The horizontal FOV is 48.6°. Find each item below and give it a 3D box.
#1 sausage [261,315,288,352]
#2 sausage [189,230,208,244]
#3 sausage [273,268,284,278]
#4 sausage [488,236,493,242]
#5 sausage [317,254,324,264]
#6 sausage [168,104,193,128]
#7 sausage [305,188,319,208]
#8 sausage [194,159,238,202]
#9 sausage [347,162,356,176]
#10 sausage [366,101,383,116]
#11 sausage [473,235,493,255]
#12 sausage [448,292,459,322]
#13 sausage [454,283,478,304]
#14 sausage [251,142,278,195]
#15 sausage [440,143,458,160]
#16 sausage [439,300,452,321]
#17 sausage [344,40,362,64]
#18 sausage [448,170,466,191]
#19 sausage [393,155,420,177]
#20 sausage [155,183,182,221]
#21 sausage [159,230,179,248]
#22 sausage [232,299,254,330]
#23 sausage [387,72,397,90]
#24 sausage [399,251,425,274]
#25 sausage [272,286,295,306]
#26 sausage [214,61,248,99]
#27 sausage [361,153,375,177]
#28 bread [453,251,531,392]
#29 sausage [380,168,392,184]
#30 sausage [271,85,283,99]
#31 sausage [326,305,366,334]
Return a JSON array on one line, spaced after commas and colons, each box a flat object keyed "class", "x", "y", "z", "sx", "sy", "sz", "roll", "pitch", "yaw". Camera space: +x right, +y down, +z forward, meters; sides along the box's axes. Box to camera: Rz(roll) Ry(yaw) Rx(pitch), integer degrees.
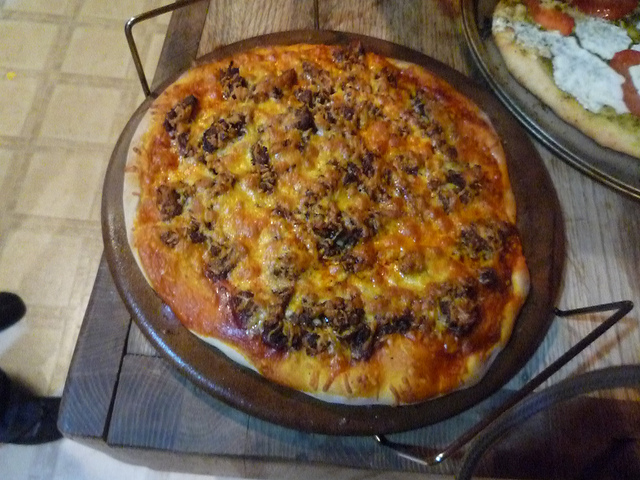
[{"class": "sausage", "x": -0.198, "y": 0.424, "z": 3.107, "sx": 0.103, "sy": 0.047, "sz": 0.163, "roll": 9, "pitch": 76, "yaw": -11}, {"class": "sausage", "x": -0.555, "y": -0.010, "z": 3.215, "sx": 0.058, "sy": 0.027, "sz": 0.053, "roll": -6, "pitch": 68, "yaw": -10}, {"class": "sausage", "x": -0.185, "y": 0.149, "z": 3.159, "sx": 0.031, "sy": 0.007, "sz": 0.038, "roll": -2, "pitch": 82, "yaw": 8}, {"class": "sausage", "x": 0.780, "y": -0.003, "z": 3.267, "sx": 0.018, "sy": 0.005, "sz": 0.022, "roll": 5, "pitch": 71, "yaw": -1}, {"class": "sausage", "x": 0.001, "y": 0.088, "z": 3.200, "sx": 0.029, "sy": 0.019, "sz": 0.035, "roll": -2, "pitch": 70, "yaw": -1}, {"class": "sausage", "x": -0.650, "y": -0.588, "z": 3.337, "sx": 0.086, "sy": 0.029, "sz": 0.110, "roll": -2, "pitch": 90, "yaw": -5}, {"class": "sausage", "x": -0.039, "y": -0.188, "z": 3.243, "sx": 0.049, "sy": 0.013, "sz": 0.079, "roll": 0, "pitch": 82, "yaw": -3}, {"class": "sausage", "x": -0.484, "y": -0.270, "z": 3.257, "sx": 0.175, "sy": 0.038, "sz": 0.189, "roll": 37, "pitch": 74, "yaw": 12}, {"class": "sausage", "x": 0.147, "y": -0.329, "z": 3.305, "sx": 0.032, "sy": 0.011, "sz": 0.055, "roll": -2, "pitch": 74, "yaw": -5}, {"class": "sausage", "x": 0.258, "y": -0.625, "z": 3.399, "sx": 0.077, "sy": 0.018, "sz": 0.049, "roll": 43, "pitch": 71, "yaw": -3}, {"class": "sausage", "x": 0.736, "y": 0.028, "z": 3.252, "sx": 0.074, "sy": 0.024, "sz": 0.088, "roll": 16, "pitch": 70, "yaw": -4}, {"class": "sausage", "x": 0.597, "y": 0.307, "z": 3.158, "sx": 0.055, "sy": 0.021, "sz": 0.089, "roll": -1, "pitch": 77, "yaw": 0}, {"class": "sausage", "x": 0.659, "y": 0.240, "z": 3.181, "sx": 0.078, "sy": 0.023, "sz": 0.094, "roll": -6, "pitch": 70, "yaw": -4}, {"class": "sausage", "x": -0.271, "y": -0.357, "z": 3.324, "sx": 0.044, "sy": 0.130, "sz": 0.270, "roll": -25, "pitch": 66, "yaw": -13}, {"class": "sausage", "x": 0.610, "y": -0.419, "z": 3.356, "sx": 0.059, "sy": 0.020, "sz": 0.086, "roll": -26, "pitch": 73, "yaw": -12}, {"class": "sausage", "x": 0.558, "y": 0.320, "z": 3.166, "sx": 0.047, "sy": 0.017, "sz": 0.077, "roll": 0, "pitch": 79, "yaw": 7}, {"class": "sausage", "x": 0.158, "y": -0.921, "z": 3.476, "sx": 0.074, "sy": 0.025, "sz": 0.118, "roll": -1, "pitch": 82, "yaw": 29}, {"class": "sausage", "x": 0.638, "y": -0.282, "z": 3.316, "sx": 0.062, "sy": 0.023, "sz": 0.095, "roll": -18, "pitch": 73, "yaw": -13}, {"class": "sausage", "x": 0.403, "y": -0.345, "z": 3.332, "sx": 0.113, "sy": 0.026, "sz": 0.076, "roll": 27, "pitch": 77, "yaw": 6}, {"class": "sausage", "x": -0.694, "y": -0.166, "z": 3.221, "sx": 0.091, "sy": 0.031, "sz": 0.172, "roll": -8, "pitch": 81, "yaw": -4}, {"class": "sausage", "x": -0.685, "y": -0.003, "z": 3.217, "sx": 0.056, "sy": 0.030, "sz": 0.083, "roll": -16, "pitch": 66, "yaw": -6}, {"class": "sausage", "x": -0.328, "y": 0.337, "z": 3.133, "sx": 0.105, "sy": 0.027, "sz": 0.100, "roll": -24, "pitch": 72, "yaw": -8}, {"class": "sausage", "x": 0.352, "y": -0.769, "z": 3.437, "sx": 0.037, "sy": 0.022, "sz": 0.079, "roll": -9, "pitch": 81, "yaw": -7}, {"class": "sausage", "x": 0.410, "y": 0.104, "z": 3.208, "sx": 0.111, "sy": 0.022, "sz": 0.097, "roll": -7, "pitch": 71, "yaw": -3}, {"class": "sausage", "x": -0.163, "y": 0.251, "z": 3.146, "sx": 0.098, "sy": 0.030, "sz": 0.075, "roll": -4, "pitch": 70, "yaw": -2}, {"class": "sausage", "x": -0.432, "y": -0.775, "z": 3.411, "sx": 0.147, "sy": 0.047, "sz": 0.173, "roll": 21, "pitch": 91, "yaw": 20}, {"class": "sausage", "x": 0.222, "y": -0.346, "z": 3.313, "sx": 0.053, "sy": 0.017, "sz": 0.095, "roll": 2, "pitch": 78, "yaw": 3}, {"class": "bread", "x": 0.759, "y": 0.388, "z": 3.207, "sx": 0.316, "sy": 0.378, "sz": 0.527, "roll": 10, "pitch": 41, "yaw": 8}, {"class": "sausage", "x": 0.309, "y": -0.299, "z": 3.317, "sx": 0.055, "sy": 0.014, "sz": 0.066, "roll": -5, "pitch": 78, "yaw": -14}, {"class": "sausage", "x": -0.207, "y": -0.704, "z": 3.380, "sx": 0.054, "sy": 0.016, "sz": 0.056, "roll": 42, "pitch": 81, "yaw": -5}, {"class": "sausage", "x": 0.118, "y": 0.352, "z": 3.155, "sx": 0.135, "sy": 0.035, "sz": 0.121, "roll": -8, "pitch": 84, "yaw": -6}]
